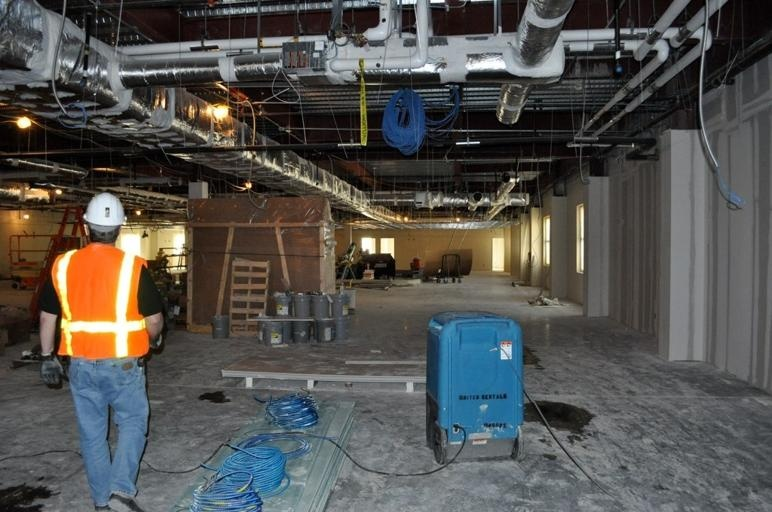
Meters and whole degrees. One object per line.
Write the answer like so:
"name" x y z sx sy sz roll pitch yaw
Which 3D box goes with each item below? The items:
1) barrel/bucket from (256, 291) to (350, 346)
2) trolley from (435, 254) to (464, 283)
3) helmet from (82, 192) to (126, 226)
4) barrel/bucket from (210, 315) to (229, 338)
"barrel/bucket" -1.502 1.224 10.798 1.130 0.628 1.185 -1 0 0
"trolley" 2.776 0.557 25.669 1.060 1.264 1.774 -1 -2 5
"helmet" -2.884 -0.469 5.883 0.298 0.237 0.380 3 2 -22
"barrel/bucket" -3.287 1.416 11.271 0.385 0.610 0.375 0 -9 0
